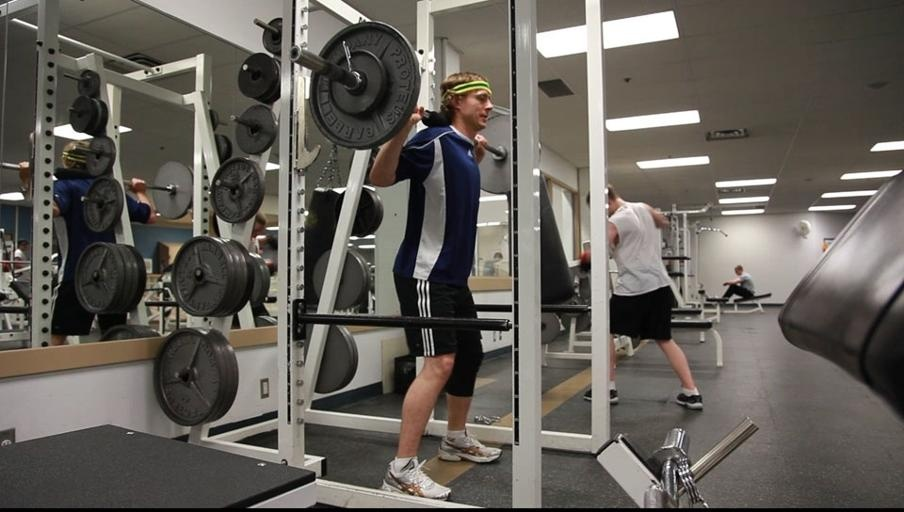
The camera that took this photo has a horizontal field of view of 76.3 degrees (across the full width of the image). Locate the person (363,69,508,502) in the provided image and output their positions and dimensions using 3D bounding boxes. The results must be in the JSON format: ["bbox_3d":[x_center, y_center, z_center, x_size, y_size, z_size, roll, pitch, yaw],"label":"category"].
[{"bbox_3d":[-0.049,0.077,2.934,0.725,1.970,0.595,0,-1,21],"label":"person"}]

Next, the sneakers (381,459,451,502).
[{"bbox_3d":[-0.160,1.042,2.655,0.322,0.218,0.145,-1,2,-8],"label":"sneakers"}]

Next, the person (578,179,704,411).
[{"bbox_3d":[1.375,0.209,4.317,0.735,1.721,0.880,2,2,12],"label":"person"}]
